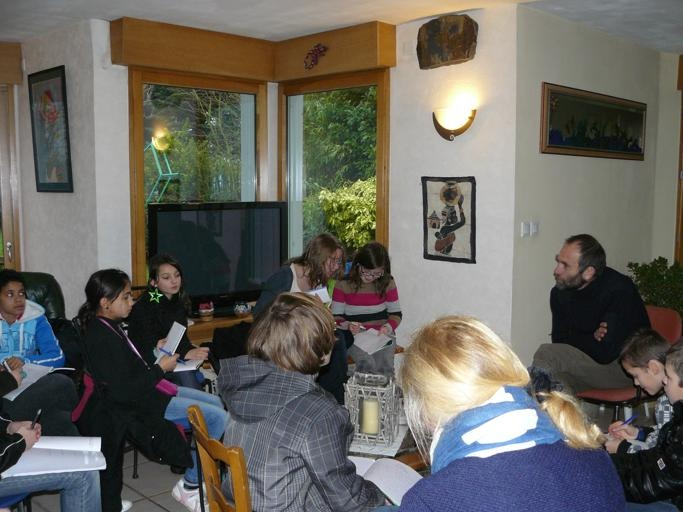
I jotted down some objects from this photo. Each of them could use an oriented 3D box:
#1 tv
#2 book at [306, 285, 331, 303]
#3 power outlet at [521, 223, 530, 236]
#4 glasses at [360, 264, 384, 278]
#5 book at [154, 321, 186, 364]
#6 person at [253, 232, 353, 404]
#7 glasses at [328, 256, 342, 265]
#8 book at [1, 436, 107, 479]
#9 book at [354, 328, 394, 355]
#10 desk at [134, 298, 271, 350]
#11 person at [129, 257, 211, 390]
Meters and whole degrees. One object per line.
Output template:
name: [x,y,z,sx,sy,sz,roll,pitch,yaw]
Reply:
tv: [-1.088,0.027,4.569,1.046,0.777,0.269,-3,2,-41]
book: [-0.140,0.258,3.639,0.133,0.130,0.032,-7,2,22]
power outlet: [1.400,-0.208,4.147,0.047,0.094,0.090,3,5,37]
glasses: [0.225,0.132,4.042,0.173,0.131,0.193,-1,7,5]
book: [-1.045,0.520,3.281,0.030,0.284,0.212,28,-2,-25]
person: [-0.214,0.438,3.995,0.681,1.332,0.578,15,30,22]
glasses: [-0.032,0.032,3.748,0.053,0.051,0.064,-6,6,-40]
book: [-1.198,0.861,2.319,0.208,0.071,0.213,0,5,-18]
book: [0.207,0.596,3.855,0.188,0.065,0.190,-28,36,-36]
desk: [-0.912,0.516,4.474,1.037,0.460,0.248,2,-9,-37]
person: [-1.086,0.529,3.595,0.639,1.035,0.433,4,9,4]
